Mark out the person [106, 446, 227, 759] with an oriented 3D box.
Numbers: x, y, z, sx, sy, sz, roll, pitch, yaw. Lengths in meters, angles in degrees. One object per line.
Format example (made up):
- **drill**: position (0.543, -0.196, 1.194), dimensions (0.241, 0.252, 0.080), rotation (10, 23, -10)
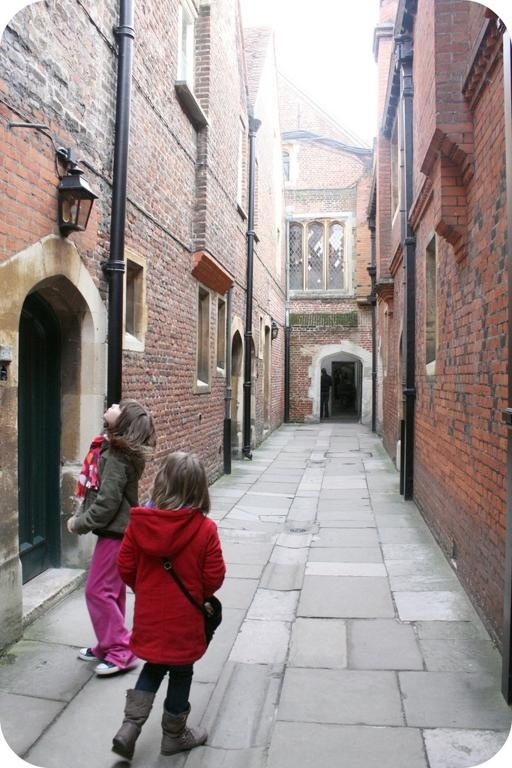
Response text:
- **person**: position (-0.325, 0.849, 2.111), dimensions (0.410, 1.179, 0.387), rotation (1, -3, -2)
